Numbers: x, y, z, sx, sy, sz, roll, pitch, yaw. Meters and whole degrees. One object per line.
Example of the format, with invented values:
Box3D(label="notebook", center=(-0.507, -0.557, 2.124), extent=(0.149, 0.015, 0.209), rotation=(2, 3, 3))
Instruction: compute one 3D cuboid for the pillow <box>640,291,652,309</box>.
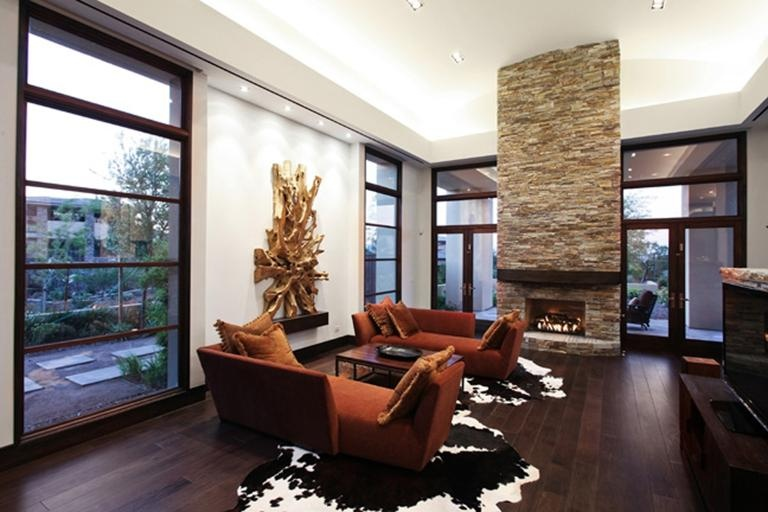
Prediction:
Box3D(label="pillow", center=(5.092, 0.841, 9.022), extent=(0.111, 0.276, 0.268), rotation=(7, 24, -6))

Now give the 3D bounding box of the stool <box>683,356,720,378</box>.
Box3D(label="stool", center=(4.133, 1.449, 6.088), extent=(0.343, 0.206, 0.339), rotation=(-1, -3, 16))

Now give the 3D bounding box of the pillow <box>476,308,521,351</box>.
Box3D(label="pillow", center=(1.813, 1.193, 7.372), extent=(0.563, 0.640, 0.312), rotation=(5, 11, 11))

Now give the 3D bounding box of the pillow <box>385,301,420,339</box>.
Box3D(label="pillow", center=(0.320, 1.117, 8.071), extent=(0.162, 0.530, 0.557), rotation=(-37, -16, 26))
